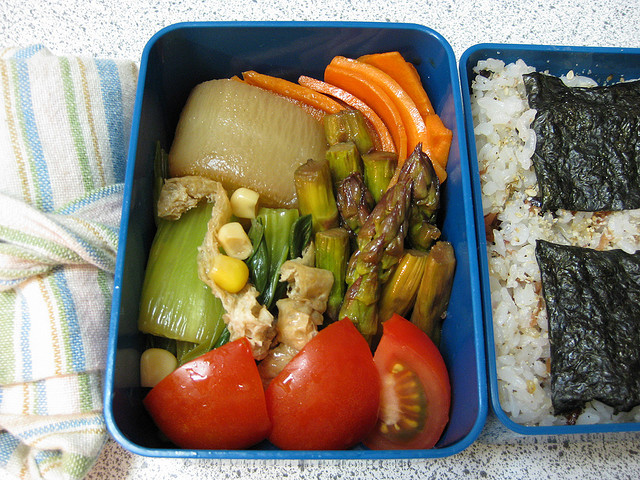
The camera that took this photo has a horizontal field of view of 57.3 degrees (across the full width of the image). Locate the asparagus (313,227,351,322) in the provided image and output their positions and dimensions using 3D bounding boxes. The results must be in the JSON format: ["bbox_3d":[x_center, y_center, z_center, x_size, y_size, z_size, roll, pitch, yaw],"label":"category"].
[{"bbox_3d":[0.037,0.077,1.706,0.083,0.274,0.108,-10,29,-12],"label":"asparagus"}]

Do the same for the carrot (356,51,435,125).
[{"bbox_3d":[0.257,-0.509,1.822,0.179,0.204,0.294,-14,40,-16],"label":"carrot"}]

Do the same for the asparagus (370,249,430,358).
[{"bbox_3d":[0.227,0.135,1.661,0.103,0.413,0.110,19,-3,-22],"label":"asparagus"}]

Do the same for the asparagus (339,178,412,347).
[{"bbox_3d":[0.167,0.089,1.635,0.124,0.115,0.568,23,70,4],"label":"asparagus"}]

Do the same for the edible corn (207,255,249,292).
[{"bbox_3d":[-0.259,0.084,1.635,0.125,0.084,0.115,6,32,-11],"label":"edible corn"}]

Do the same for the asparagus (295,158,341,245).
[{"bbox_3d":[-0.006,-0.123,1.745,0.116,0.229,0.140,0,25,4],"label":"asparagus"}]

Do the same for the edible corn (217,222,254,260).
[{"bbox_3d":[-0.242,0.004,1.655,0.076,0.050,0.113,-38,83,-3],"label":"edible corn"}]

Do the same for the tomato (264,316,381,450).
[{"bbox_3d":[-0.004,0.373,1.526,0.243,0.161,0.433,-5,45,-1],"label":"tomato"}]

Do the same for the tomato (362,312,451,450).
[{"bbox_3d":[0.213,0.399,1.624,0.183,0.297,0.333,2,41,-5],"label":"tomato"}]

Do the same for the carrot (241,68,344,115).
[{"bbox_3d":[-0.090,-0.463,1.833,0.258,0.060,0.066,24,-1,5],"label":"carrot"}]

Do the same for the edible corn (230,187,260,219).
[{"bbox_3d":[-0.220,-0.110,1.753,0.077,0.083,0.087,25,58,3],"label":"edible corn"}]
